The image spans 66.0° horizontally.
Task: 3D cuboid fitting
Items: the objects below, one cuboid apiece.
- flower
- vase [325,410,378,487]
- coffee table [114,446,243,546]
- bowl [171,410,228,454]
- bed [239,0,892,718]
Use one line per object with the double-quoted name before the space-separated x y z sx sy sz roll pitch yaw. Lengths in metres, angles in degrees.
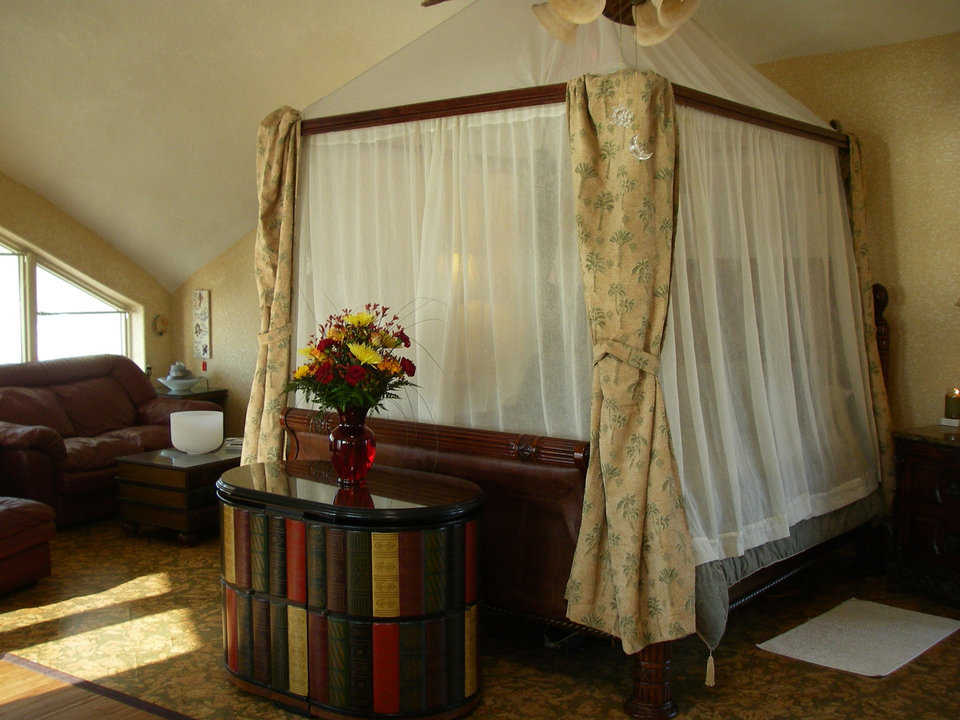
"flower" -0.560 -0.003 3.444 0.583 0.657 0.543 -4 4 -29
"vase" -0.571 0.400 3.353 0.187 0.329 0.189 0 1 -39
"coffee table" -2.086 0.869 5.123 0.588 0.453 0.815 4 7 28
"bowl" -1.993 0.498 5.235 0.306 0.271 0.308 0 -4 0
"bed" 0.719 0.349 4.476 3.140 2.703 3.209 2 4 42
